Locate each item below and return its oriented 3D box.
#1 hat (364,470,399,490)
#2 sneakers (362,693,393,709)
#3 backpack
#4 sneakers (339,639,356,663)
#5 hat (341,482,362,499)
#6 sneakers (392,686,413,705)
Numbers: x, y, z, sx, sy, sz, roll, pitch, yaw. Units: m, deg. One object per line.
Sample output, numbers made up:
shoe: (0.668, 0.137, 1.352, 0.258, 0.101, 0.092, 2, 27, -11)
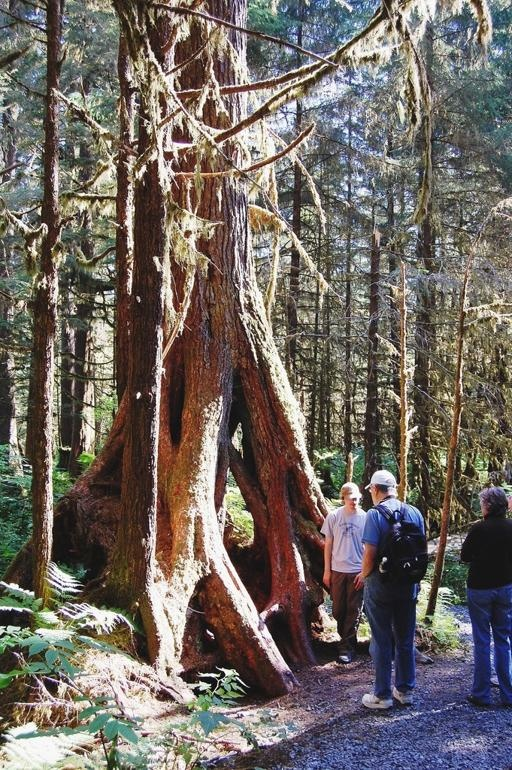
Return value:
hat: (1.000, 0.762, 5.841, 0.217, 0.149, 0.171, 0, -6, 29)
sneakers: (0.929, 2.414, 5.540, 0.094, 0.135, 0.233, 7, -7, -35)
backpack: (1.103, 1.244, 5.579, 0.441, 0.554, 0.228, 11, -1, 13)
sneakers: (0.862, 2.548, 6.934, 0.083, 0.129, 0.277, 0, 1, 12)
hat: (0.960, 1.051, 7.321, 0.159, 0.150, 0.239, 2, -16, -3)
sneakers: (1.142, 2.404, 5.619, 0.070, 0.093, 0.196, 2, 6, 0)
